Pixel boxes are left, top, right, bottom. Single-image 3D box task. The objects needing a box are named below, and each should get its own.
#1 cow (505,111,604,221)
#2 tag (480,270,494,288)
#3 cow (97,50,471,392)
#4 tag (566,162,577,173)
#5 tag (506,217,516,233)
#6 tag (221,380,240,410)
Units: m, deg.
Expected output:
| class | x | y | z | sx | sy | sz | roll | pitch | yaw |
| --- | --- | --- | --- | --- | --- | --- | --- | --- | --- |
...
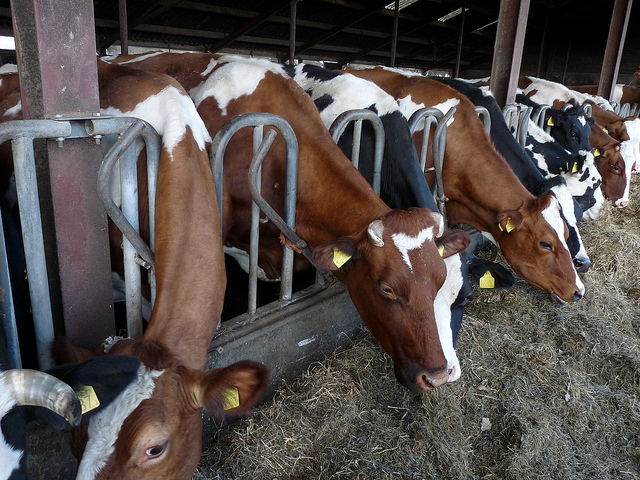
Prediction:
| class | x | y | z | sx | sy | sz | roll | pitch | yaw |
| --- | --- | --- | --- | --- | --- | --- | --- | --- | --- |
| cow | 2.540 | -0.827 | 6.183 | 0.425 | 0.687 | 1.343 | -25 | 59 | -3 |
| tag | 1.256 | 0.284 | 4.261 | 0.110 | 0.165 | 0.012 | 10 | 28 | 27 |
| cow | -0.495 | -0.340 | 4.744 | 1.014 | 2.248 | 4.155 | -13 | 28 | -33 |
| tag | 2.939 | -0.862 | 6.603 | 0.073 | 0.110 | 0.038 | -2 | 0 | -22 |
| tag | 1.526 | -0.134 | 4.544 | 0.074 | 0.141 | 0.017 | -22 | -37 | 38 |
| tag | -0.388 | 0.658 | 2.425 | 0.111 | 0.138 | 0.014 | -11 | 17 | -35 |
